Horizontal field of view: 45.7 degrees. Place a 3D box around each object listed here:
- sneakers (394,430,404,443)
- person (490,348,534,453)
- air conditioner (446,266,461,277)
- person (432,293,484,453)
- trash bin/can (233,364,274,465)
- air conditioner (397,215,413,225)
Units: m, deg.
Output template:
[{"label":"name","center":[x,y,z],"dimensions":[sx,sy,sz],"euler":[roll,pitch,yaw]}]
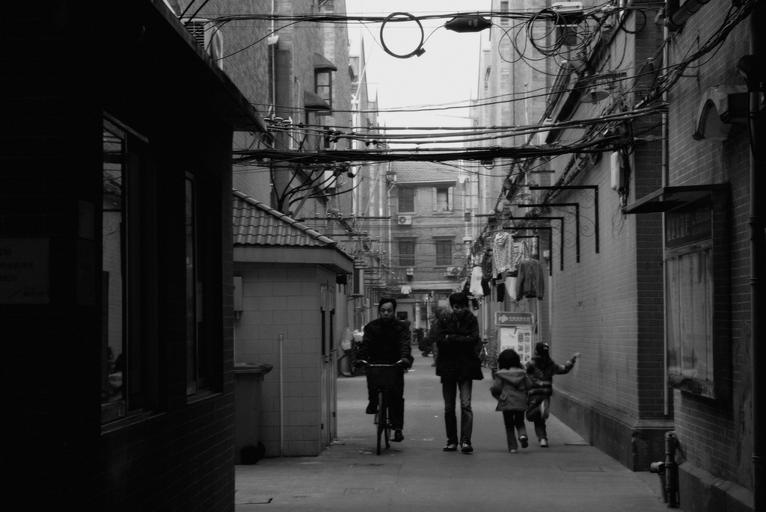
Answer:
[{"label":"sneakers","center":[0.246,2.930,14.791],"dimensions":[0.201,0.203,0.203],"euler":[3,-3,-16]},{"label":"person","center":[1.970,2.230,14.135],"dimensions":[0.581,1.573,1.307],"euler":[-2,-8,8]},{"label":"air conditioner","center":[5.124,1.094,67.188],"dimensions":[0.811,0.917,2.533],"euler":[0,-8,-5]},{"label":"person","center":[1.136,1.772,13.970],"dimensions":[0.705,2.431,1.237],"euler":[-1,-8,4]},{"label":"trash bin/can","center":[-1.832,2.228,12.889],"dimensions":[0.430,1.377,0.804],"euler":[-4,-8,24]},{"label":"air conditioner","center":[1.524,-2.732,69.203],"dimensions":[1.214,0.705,0.843],"euler":[0,-3,17]}]
